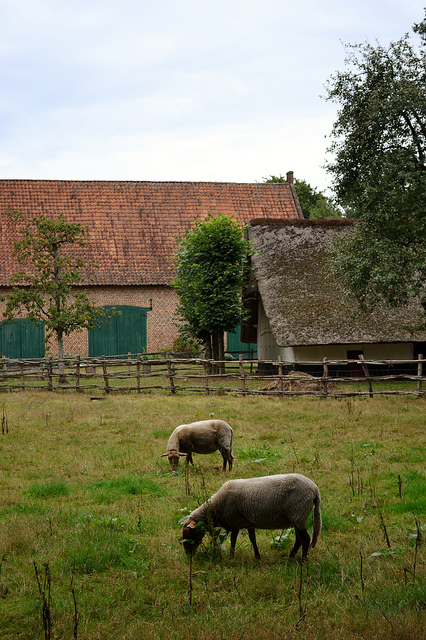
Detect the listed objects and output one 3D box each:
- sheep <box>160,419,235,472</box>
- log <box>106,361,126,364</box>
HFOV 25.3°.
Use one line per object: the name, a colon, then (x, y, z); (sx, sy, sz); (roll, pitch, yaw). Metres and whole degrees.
sheep: (-0.134, 1.660, 12.749); (1.137, 0.794, 0.493); (0, -11, 5)
log: (-2.383, 1.060, 23.558); (0.532, 0.098, 0.175); (1, 6, 30)
